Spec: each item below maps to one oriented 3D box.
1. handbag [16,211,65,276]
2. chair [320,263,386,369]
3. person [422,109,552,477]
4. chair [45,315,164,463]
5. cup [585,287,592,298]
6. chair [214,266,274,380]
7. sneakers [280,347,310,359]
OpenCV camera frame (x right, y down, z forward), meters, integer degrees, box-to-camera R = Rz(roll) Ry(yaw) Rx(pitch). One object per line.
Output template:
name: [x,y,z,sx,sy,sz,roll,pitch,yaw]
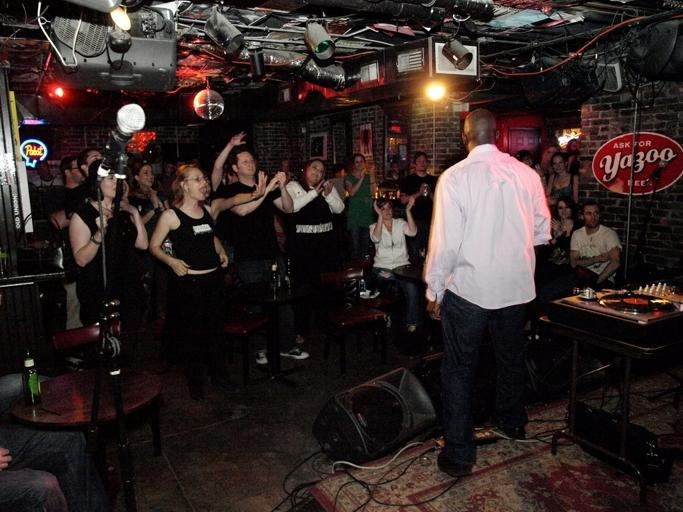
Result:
handbag: [-2.437,-0.054,4.246,0.166,0.496,0.392,23,18,31]
chair: [0.103,0.665,5.573,0.630,0.911,0.649,-5,13,-27]
person: [0.942,0.215,3.627,0.997,2.382,0.539,-16,17,-41]
chair: [-1.666,0.895,3.628,0.820,0.455,0.773,-6,18,-35]
cup: [1.665,0.252,3.568,0.069,0.061,0.053,1,2,9]
chair: [-0.996,0.719,5.248,0.587,0.779,0.563,7,1,38]
sneakers: [-0.495,1.060,5.705,0.187,0.058,0.144,3,1,28]
